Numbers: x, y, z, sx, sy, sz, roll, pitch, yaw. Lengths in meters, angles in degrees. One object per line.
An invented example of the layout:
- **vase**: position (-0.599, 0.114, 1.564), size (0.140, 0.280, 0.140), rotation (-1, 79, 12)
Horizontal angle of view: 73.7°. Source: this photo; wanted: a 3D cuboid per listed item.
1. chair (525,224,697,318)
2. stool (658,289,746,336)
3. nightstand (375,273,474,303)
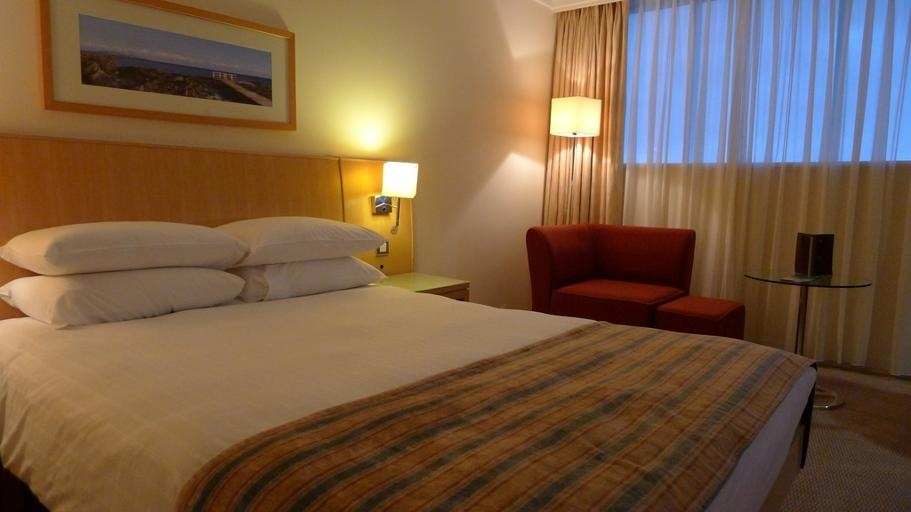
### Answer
- **chair**: position (1.509, 0.047, 5.592), size (1.137, 0.803, 1.077), rotation (5, 5, 32)
- **stool**: position (2.018, 0.469, 4.992), size (0.433, 0.348, 0.435), rotation (8, 15, 41)
- **nightstand**: position (-0.195, 0.237, 4.858), size (0.359, 0.216, 0.381), rotation (12, 15, 42)
